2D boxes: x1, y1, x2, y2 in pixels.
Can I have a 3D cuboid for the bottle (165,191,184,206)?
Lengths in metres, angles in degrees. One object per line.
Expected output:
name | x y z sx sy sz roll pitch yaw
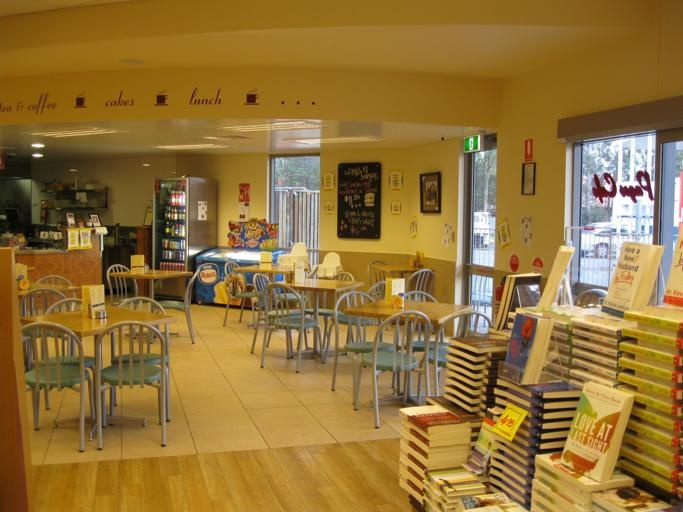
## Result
bottle | -3.225 -1.127 10.487 0.301 0.282 0.307 2 -1 11

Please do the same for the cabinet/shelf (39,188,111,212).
cabinet/shelf | -6.290 -1.349 12.820 1.703 0.614 0.517 -1 -15 5

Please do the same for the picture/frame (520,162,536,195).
picture/frame | 2.185 -0.893 6.251 0.020 0.371 0.230 -2 6 -22

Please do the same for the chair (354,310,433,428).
chair | 0.466 0.977 5.010 0.703 1.018 0.709 -3 5 -44

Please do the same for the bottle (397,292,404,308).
bottle | 0.590 0.463 5.433 0.057 0.122 0.107 1 40 -3

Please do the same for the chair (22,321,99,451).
chair | -2.586 0.936 4.954 0.583 1.094 2.175 -2 7 -30

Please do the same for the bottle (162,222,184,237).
bottle | -3.286 -0.527 10.604 0.595 0.263 0.112 6 8 40

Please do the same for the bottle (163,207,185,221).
bottle | -3.294 -0.834 10.611 0.260 0.242 0.088 3 6 27

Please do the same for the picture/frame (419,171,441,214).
picture/frame | 1.425 -1.019 8.585 0.062 0.838 0.746 1 -1 -23

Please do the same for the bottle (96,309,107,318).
bottle | -2.077 0.504 4.664 0.064 0.046 0.065 0 1 0

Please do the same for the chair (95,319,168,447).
chair | -1.760 1.047 4.539 0.570 1.008 0.631 1 -1 -23

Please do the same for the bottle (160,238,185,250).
bottle | -3.347 -0.224 10.654 0.594 0.199 0.042 4 7 28
